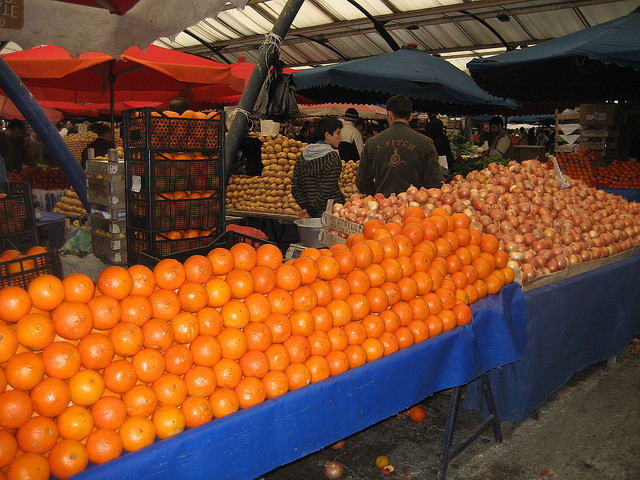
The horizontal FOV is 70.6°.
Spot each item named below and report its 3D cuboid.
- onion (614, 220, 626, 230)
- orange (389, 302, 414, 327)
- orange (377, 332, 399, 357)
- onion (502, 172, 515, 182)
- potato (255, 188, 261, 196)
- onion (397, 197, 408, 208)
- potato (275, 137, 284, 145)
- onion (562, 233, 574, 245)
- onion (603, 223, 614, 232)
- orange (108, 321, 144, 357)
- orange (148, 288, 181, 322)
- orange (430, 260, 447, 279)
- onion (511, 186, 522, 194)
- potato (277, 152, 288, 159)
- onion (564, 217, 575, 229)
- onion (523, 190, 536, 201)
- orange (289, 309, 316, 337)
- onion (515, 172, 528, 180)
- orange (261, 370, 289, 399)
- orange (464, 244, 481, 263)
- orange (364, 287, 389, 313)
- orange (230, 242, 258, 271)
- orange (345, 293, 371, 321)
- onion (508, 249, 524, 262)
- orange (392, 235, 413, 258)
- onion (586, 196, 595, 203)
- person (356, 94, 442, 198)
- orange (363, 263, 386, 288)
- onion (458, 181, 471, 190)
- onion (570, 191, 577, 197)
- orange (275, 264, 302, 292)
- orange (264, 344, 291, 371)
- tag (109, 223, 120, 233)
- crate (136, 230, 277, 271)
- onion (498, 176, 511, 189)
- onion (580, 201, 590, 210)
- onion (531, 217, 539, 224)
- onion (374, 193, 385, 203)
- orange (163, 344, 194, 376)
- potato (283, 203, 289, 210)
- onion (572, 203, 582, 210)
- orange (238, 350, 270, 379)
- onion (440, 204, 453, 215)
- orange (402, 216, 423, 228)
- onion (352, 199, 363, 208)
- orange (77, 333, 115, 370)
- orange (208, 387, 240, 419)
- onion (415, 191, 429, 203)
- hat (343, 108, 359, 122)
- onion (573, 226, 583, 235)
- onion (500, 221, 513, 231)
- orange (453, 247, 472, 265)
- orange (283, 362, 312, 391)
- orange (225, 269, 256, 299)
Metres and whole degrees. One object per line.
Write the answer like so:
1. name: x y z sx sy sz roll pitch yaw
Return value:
1. onion: 2.944 -0.148 4.434 0.045 0.092 0.090 -6 28 20
2. orange: 0.456 0.407 2.542 0.125 0.131 0.122 3 7 4
3. orange: 0.371 0.547 2.399 0.100 0.108 0.124 8 49 20
4. onion: 1.773 -0.604 4.248 0.078 0.096 0.076 -33 29 -35
5. potato: -1.032 -0.790 7.613 0.076 0.132 0.073 13 -14 -40
6. onion: 0.683 -0.299 3.669 0.077 0.111 0.079 5 8 34
7. potato: -0.692 -1.708 7.822 0.166 0.117 0.050 7 15 33
8. onion: 2.090 -0.007 3.864 0.080 0.099 0.087 -29 6 2
9. onion: 2.754 -0.116 4.299 0.151 0.072 0.051 -9 15 -31
10. orange: -0.791 0.425 1.935 0.135 0.139 0.160 5 -26 -10
11. orange: -0.702 0.293 2.040 0.134 0.137 0.131 -1 -19 -22
12. orange: 0.736 0.179 2.806 0.095 0.119 0.100 -6 6 7
13. onion: 1.747 -0.439 4.010 0.060 0.071 0.060 -49 0 -31
14. potato: -0.625 -1.427 7.677 0.165 0.102 0.120 -4 13 -12
15. onion: 2.243 -0.164 4.068 0.080 0.035 0.106 7 39 3
16. onion: 1.856 -0.390 4.006 0.072 0.079 0.099 0 1 7
17. orange: -0.085 0.416 2.324 0.116 0.148 0.123 7 1 29
18. onion: 1.896 -0.589 4.259 0.076 0.055 0.097 -2 5 2
19. orange: -0.198 0.664 2.071 0.103 0.103 0.107 8 -19 8
20. orange: 1.035 0.094 3.060 0.101 0.124 0.100 0 6 7
21. orange: 0.318 0.326 2.487 0.117 0.146 0.124 2 2 13
22. orange: -0.379 0.065 2.357 0.125 0.157 0.130 17 17 22
23. orange: 0.213 0.348 2.433 0.126 0.155 0.129 2 7 9
24. onion: 1.475 0.121 3.395 0.076 0.079 0.094 -7 3 -38
25. orange: 0.510 0.043 2.752 0.112 0.141 0.114 -2 3 3
26. onion: 2.723 -0.410 4.553 0.078 0.044 0.064 9 10 -38
27. person: 0.851 -1.004 4.876 0.676 1.068 0.755 -8 14 -26
28. orange: 0.318 0.203 2.609 0.112 0.137 0.116 -4 3 2
29. onion: 1.285 -0.488 4.011 0.088 0.090 0.090 4 22 9
30. onion: 2.514 -0.449 4.478 0.053 0.035 0.063 1 11 5
31. orange: -0.161 0.198 2.373 0.120 0.124 0.123 -2 19 2
32. orange: -0.195 0.551 2.131 0.106 0.111 0.104 4 1 -9
33. tag: -1.764 -0.096 3.888 0.068 0.072 0.023 -2 7 -9
34. crate: -0.684 0.006 2.716 0.710 0.245 0.419 -7 8 -43
35. onion: 1.701 -0.524 4.158 0.094 0.117 0.095 0 2 28
36. onion: 2.565 -0.333 4.380 0.074 0.052 0.092 -1 18 9
37. onion: 1.811 -0.161 3.804 0.039 0.014 0.039 24 27 -14
38. onion: 0.494 -0.348 3.771 0.079 0.100 0.077 -3 10 -39
39. orange: -0.609 0.518 2.005 0.110 0.119 0.117 8 1 17
40. potato: -0.545 -0.541 7.304 0.089 0.096 0.061 -6 14 -19
41. onion: 2.426 -0.317 4.271 0.066 0.052 0.090 1 7 11
42. orange: -0.298 0.568 2.069 0.118 0.128 0.123 6 -2 -24
43. onion: 1.004 -0.249 3.549 0.091 0.116 0.095 -4 12 11
44. orange: 0.622 -0.118 3.023 0.091 0.114 0.093 0 -3 -3
45. onion: 0.317 -0.306 3.799 0.059 0.058 0.060 -3 -7 14
46. orange: -0.891 0.435 1.873 0.130 0.143 0.141 0 9 22
47. orange: -0.420 0.710 1.975 0.120 0.121 0.121 -14 -22 11
48. onion: 0.842 -0.354 3.744 0.088 0.092 0.091 1 -8 2
49. hat: 0.623 -2.440 8.829 0.258 0.265 0.334 2 13 13
50. onion: 2.269 -0.083 3.965 0.068 0.070 0.070 -4 5 8
51. onion: 1.474 -0.119 3.569 0.074 0.073 0.076 1 39 12
52. orange: 0.937 0.102 2.995 0.105 0.111 0.103 5 6 2
53. orange: -0.105 0.654 2.179 0.107 0.113 0.131 13 52 0
54. orange: -0.397 0.220 2.292 0.131 0.133 0.131 -30 -20 -27
